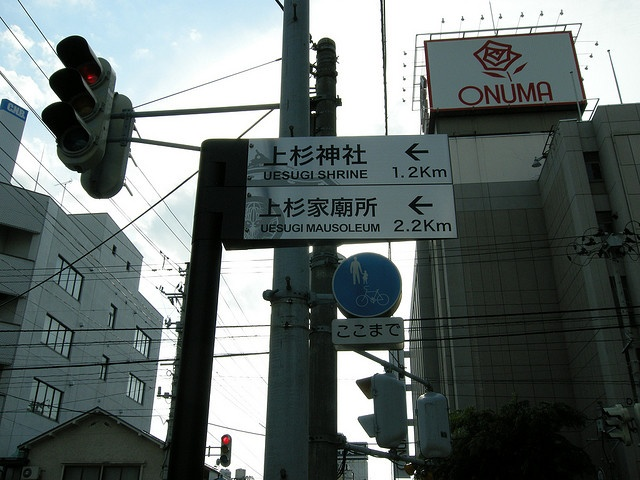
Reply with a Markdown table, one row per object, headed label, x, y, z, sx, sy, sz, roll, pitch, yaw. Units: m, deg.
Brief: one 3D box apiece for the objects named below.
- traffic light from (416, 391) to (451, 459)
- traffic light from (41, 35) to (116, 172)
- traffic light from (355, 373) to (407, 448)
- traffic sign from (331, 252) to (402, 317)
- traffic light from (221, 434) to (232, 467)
| label | x | y | z | sx | sy | sz | roll | pitch | yaw |
| --- | --- | --- | --- | --- | --- | --- | --- | --- | --- |
| traffic light | 2.010 | 3.254 | 10.566 | 0.554 | 1.143 | 0.525 | -3 | -25 | 9 |
| traffic light | -3.550 | -1.998 | 8.842 | 0.962 | 1.840 | 0.670 | 17 | -29 | -31 |
| traffic light | 1.053 | 3.021 | 10.374 | 0.788 | 1.368 | 0.578 | -13 | -35 | 18 |
| traffic sign | 0.763 | 0.802 | 9.620 | 1.110 | 1.234 | 0.368 | -4 | -38 | -1 |
| traffic light | -3.523 | 7.933 | 22.328 | 0.360 | 1.050 | 0.475 | 8 | -26 | -17 |
